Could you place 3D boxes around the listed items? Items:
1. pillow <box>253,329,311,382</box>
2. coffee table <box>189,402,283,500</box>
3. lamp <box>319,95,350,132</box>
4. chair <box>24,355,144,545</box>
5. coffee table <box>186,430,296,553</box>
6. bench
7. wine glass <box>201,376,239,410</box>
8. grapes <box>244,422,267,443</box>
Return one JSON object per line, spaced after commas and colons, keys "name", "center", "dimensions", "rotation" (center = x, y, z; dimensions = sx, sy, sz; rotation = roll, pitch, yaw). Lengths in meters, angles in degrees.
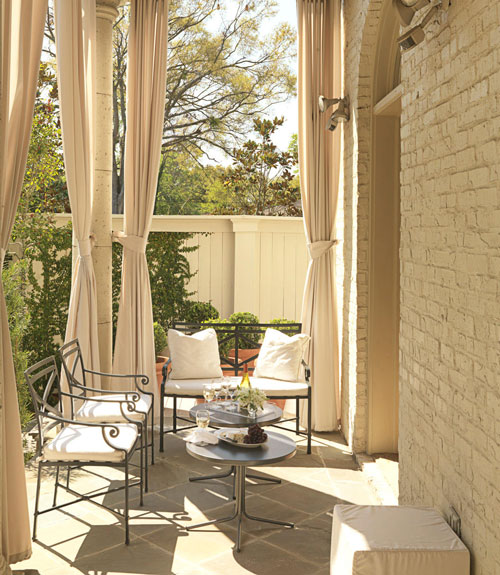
{"name": "pillow", "center": [0.199, 0.611, 4.813], "dimensions": [0.377, 0.364, 0.211], "rotation": [8, 35, 15]}
{"name": "coffee table", "center": [-0.073, 1.034, 3.962], "dimensions": [0.695, 0.648, 0.615], "rotation": [11, -16, -31]}
{"name": "lamp", "center": [0.697, -1.425, 4.620], "dimensions": [0.216, 0.319, 0.145], "rotation": [-4, -4, 7]}
{"name": "chair", "center": [-0.903, 0.865, 3.173], "dimensions": [0.637, 0.907, 0.674], "rotation": [2, 2, 16]}
{"name": "coffee table", "center": [-0.056, 1.117, 3.183], "dimensions": [0.588, 0.474, 0.600], "rotation": [-2, 1, -15]}
{"name": "bench", "center": [-0.108, 0.783, 4.353], "dimensions": [0.900, 0.759, 0.338], "rotation": [0, -5, -3]}
{"name": "wine glass", "center": [-0.198, 0.704, 3.782], "dimensions": [0.183, 0.106, 0.277], "rotation": [0, 2, -1]}
{"name": "grapes", "center": [0.024, 0.820, 3.181], "dimensions": [0.090, 0.059, 0.123], "rotation": [0, -1, 2]}
